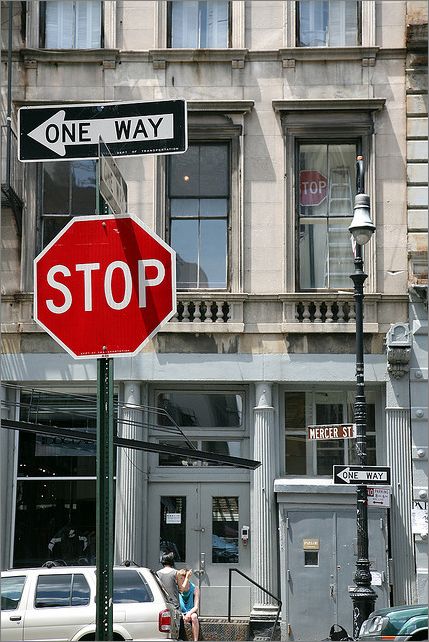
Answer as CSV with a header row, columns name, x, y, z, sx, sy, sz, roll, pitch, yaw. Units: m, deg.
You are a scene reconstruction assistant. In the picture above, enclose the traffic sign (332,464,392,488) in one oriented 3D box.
name,x,y,z,sx,sy,sz,roll,pitch,yaw
traffic sign,2.235,2.357,26.094,0.866,0.314,0.243,-2,-12,3
